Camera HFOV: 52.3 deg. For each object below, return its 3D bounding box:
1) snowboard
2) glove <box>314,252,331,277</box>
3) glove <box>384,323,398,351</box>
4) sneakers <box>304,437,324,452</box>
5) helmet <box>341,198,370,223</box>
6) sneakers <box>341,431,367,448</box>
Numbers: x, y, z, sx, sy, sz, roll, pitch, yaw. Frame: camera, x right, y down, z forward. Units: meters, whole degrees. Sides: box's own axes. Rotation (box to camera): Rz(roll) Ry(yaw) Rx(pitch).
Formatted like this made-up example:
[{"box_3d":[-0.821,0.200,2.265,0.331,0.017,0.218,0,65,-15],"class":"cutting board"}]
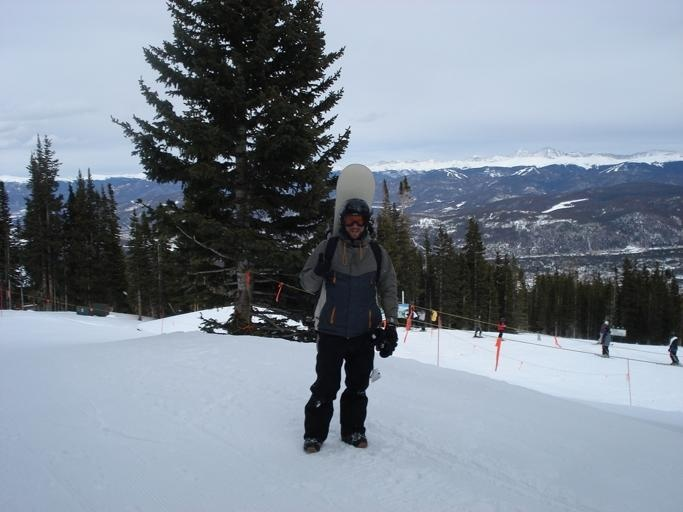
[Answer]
[{"box_3d":[-0.019,-0.139,11.329,0.669,3.218,0.337,12,2,-11],"class":"snowboard"},{"box_3d":[-0.275,0.136,10.853,0.243,0.102,0.334,33,35,11],"class":"glove"},{"box_3d":[0.767,1.257,10.875,0.221,0.330,0.248,4,-2,4],"class":"glove"},{"box_3d":[-0.428,2.918,10.737,0.316,0.190,0.179,5,-2,-12],"class":"sneakers"},{"box_3d":[0.229,-0.723,11.049,0.324,0.365,0.395,1,5,-12],"class":"helmet"},{"box_3d":[0.211,2.886,10.930,0.161,0.191,0.435,5,-9,-45],"class":"sneakers"}]
